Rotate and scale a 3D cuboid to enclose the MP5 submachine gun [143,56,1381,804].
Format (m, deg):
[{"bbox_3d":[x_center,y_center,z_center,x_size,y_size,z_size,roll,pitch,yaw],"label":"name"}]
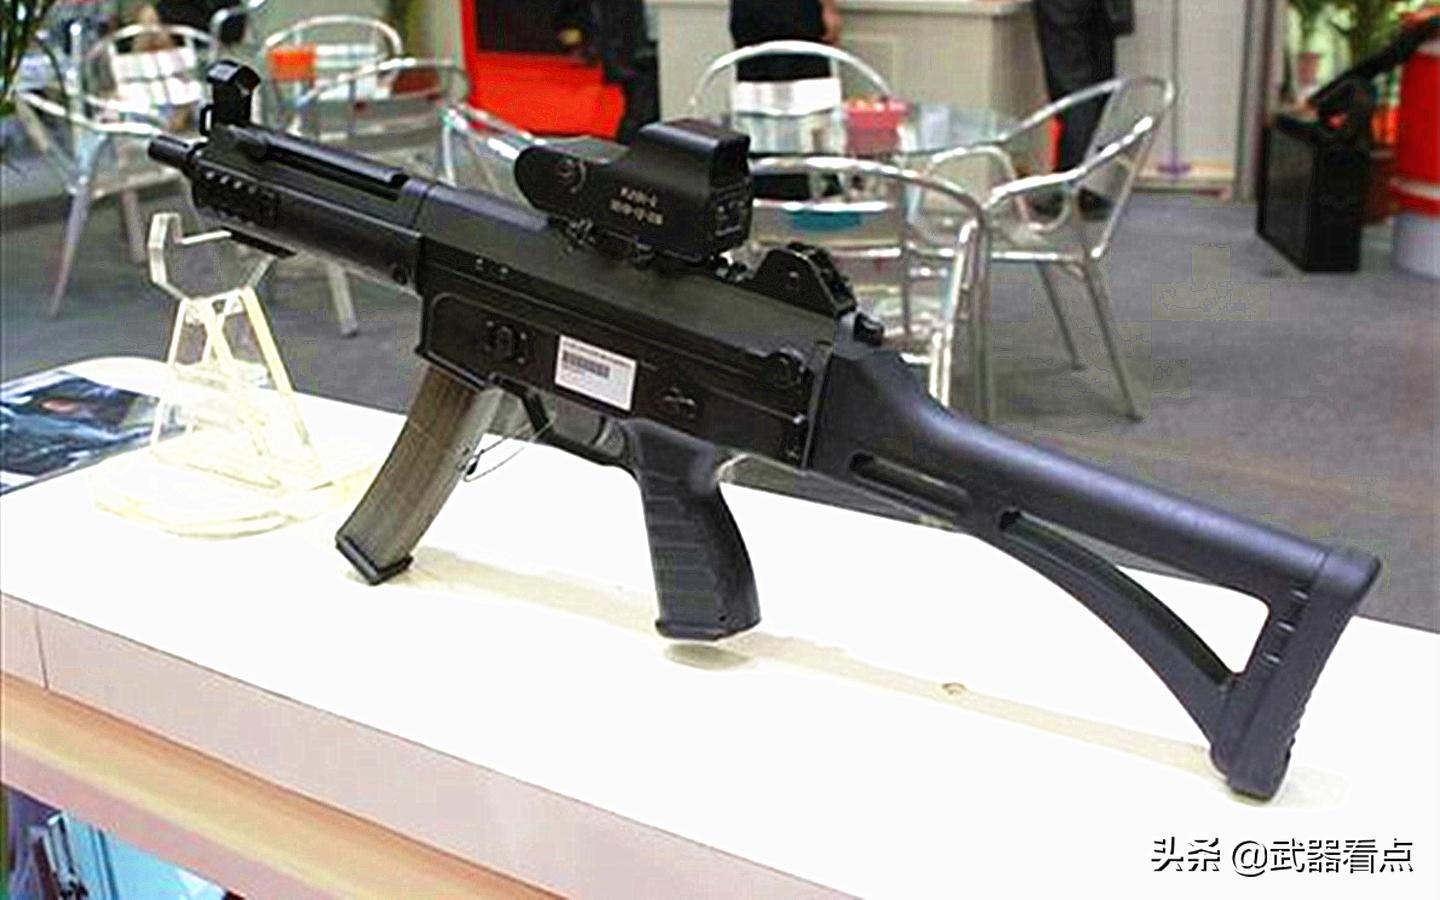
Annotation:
[{"bbox_3d":[-0.075,-0.045,1.125,1.255,0.520,0.133,21,18,23],"label":"MP5 submachine gun"}]

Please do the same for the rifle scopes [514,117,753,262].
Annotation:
[{"bbox_3d":[-0.083,-0.256,1.085,0.224,0.113,0.069,21,33,29],"label":"rifle scopes"}]

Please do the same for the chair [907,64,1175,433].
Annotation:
[{"bbox_3d":[0.656,-0.533,2.422,0.419,0.486,0.409,5,26,33],"label":"chair"}]
